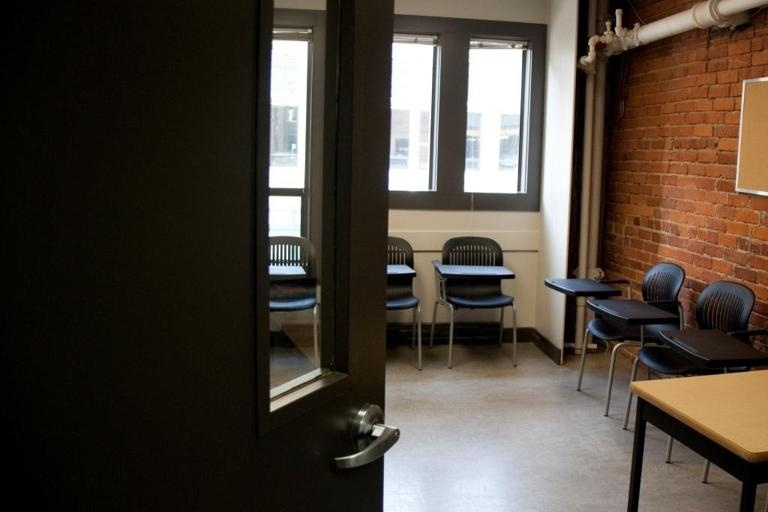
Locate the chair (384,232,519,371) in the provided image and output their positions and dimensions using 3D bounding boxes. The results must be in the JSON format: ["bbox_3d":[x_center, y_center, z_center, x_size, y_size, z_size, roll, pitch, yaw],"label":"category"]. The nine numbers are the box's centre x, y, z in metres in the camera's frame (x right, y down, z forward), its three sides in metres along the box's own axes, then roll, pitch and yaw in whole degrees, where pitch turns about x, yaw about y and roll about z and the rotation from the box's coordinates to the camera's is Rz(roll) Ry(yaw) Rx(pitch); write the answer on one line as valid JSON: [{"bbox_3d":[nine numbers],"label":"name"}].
[{"bbox_3d":[0.531,0.353,4.963,1.039,0.755,0.439,0,4,-11],"label":"chair"}]

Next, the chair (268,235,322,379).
[{"bbox_3d":[-0.173,0.075,1.070,0.118,0.196,0.112,-6,17,-15],"label":"chair"}]
